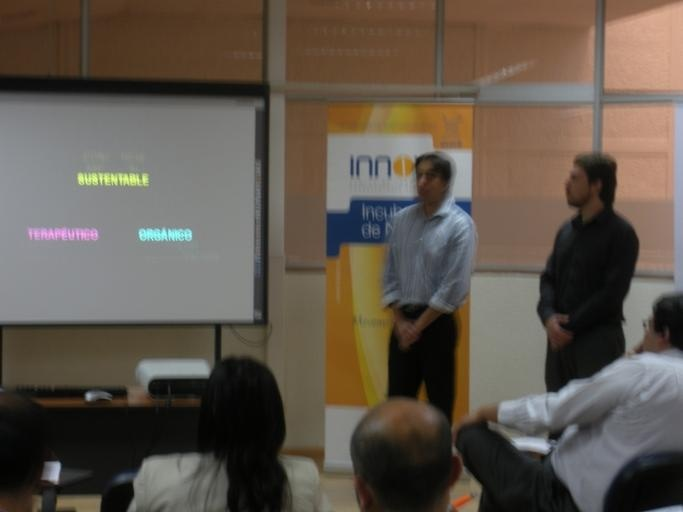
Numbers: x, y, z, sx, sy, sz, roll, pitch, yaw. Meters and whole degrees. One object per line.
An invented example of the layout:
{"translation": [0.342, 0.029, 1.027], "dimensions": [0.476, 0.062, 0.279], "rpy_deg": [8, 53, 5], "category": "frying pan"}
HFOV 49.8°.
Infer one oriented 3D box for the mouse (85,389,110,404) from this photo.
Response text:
{"translation": [-1.365, 0.789, 4.149], "dimensions": [0.093, 0.042, 0.073], "rpy_deg": [1, 8, -18], "category": "mouse"}
